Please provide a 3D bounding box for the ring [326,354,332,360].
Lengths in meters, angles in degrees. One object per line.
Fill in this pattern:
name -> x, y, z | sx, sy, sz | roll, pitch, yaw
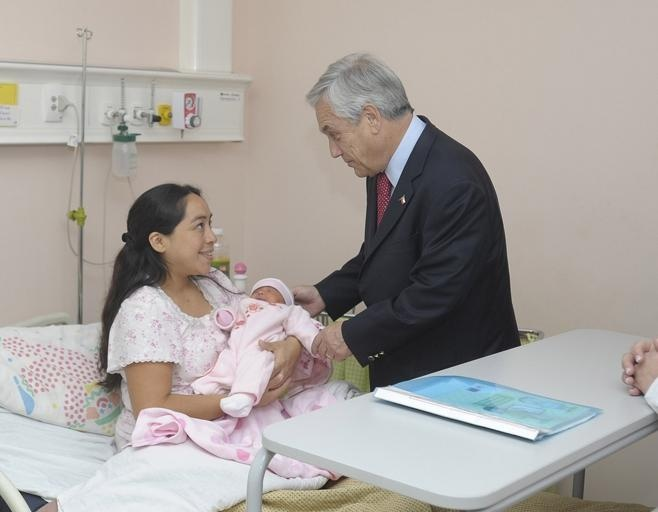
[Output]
ring -> 0.002, 0.323, 1.798 | 0.016, 0.014, 0.013 | 12, -3, -28

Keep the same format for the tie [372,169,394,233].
tie -> 0.189, -0.216, 1.936 | 0.033, 0.154, 0.085 | -1, 6, -27

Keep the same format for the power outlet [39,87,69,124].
power outlet -> -1.162, -0.651, 2.391 | 0.029, 0.134, 0.126 | 4, 6, 36

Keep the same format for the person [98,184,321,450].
person -> -0.408, 0.178, 2.059 | 0.714, 0.842, 0.999 | -1, 5, 14

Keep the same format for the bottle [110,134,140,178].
bottle -> -0.914, -0.453, 2.538 | 0.111, 0.187, 0.122 | -2, 9, -6
